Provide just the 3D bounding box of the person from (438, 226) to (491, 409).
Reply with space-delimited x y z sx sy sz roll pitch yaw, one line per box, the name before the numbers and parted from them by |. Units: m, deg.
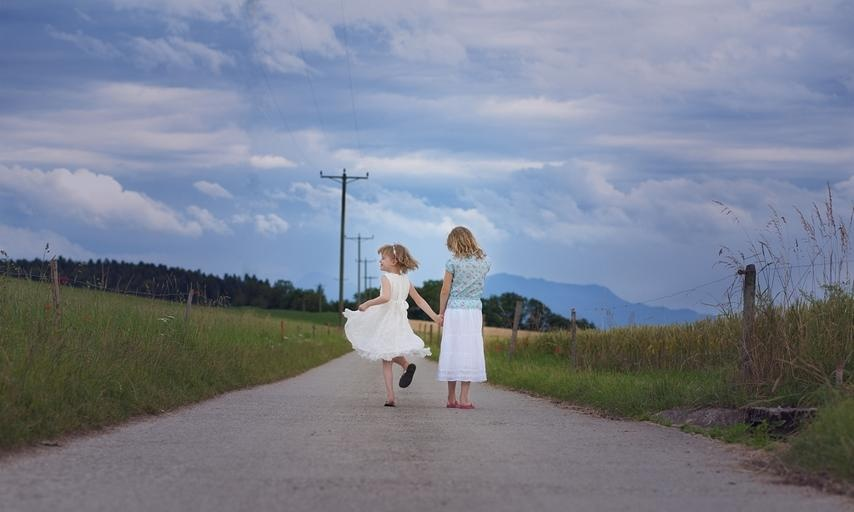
person | 0.643 1.092 18.180 0.844 3.163 0.540 1 -6 1
